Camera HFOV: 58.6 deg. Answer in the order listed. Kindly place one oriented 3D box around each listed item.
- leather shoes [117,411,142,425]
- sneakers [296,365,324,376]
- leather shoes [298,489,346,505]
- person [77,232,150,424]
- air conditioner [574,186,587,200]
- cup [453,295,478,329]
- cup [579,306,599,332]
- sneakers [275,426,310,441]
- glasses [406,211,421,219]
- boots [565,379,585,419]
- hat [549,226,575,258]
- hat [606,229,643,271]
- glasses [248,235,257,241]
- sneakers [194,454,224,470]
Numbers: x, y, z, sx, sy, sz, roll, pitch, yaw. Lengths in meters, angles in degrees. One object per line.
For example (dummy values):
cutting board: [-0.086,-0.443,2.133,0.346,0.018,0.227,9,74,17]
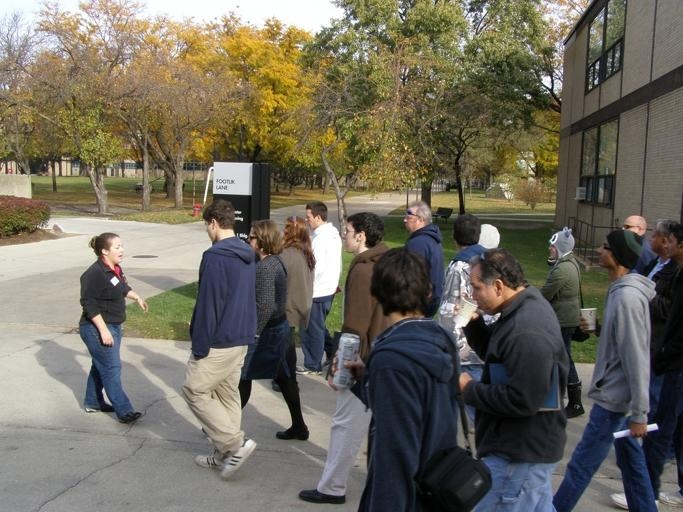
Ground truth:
leather shoes: [-2.265,1.732,6.569,0.246,0.108,0.107,-14,10,1]
sneakers: [-0.430,1.561,8.336,0.340,0.164,0.128,4,-2,2]
leather shoes: [-0.172,2.074,5.325,0.376,0.166,0.147,8,-11,5]
person: [-2.546,0.768,6.683,0.591,2.025,0.694,-1,5,-22]
air conditioner: [8.569,-2.209,21.836,0.517,0.535,0.395,-1,-3,5]
cup: [0.925,0.436,4.490,0.155,0.230,0.319,2,5,12]
cup: [2.204,0.574,5.432,0.184,0.200,0.191,-1,0,0]
sneakers: [-0.501,1.856,6.344,0.345,0.156,0.142,3,-2,6]
glasses: [0.803,-0.479,6.928,0.140,0.083,0.137,-1,5,-20]
boots: [2.711,1.656,7.024,0.203,0.406,0.348,3,5,22]
hat: [2.472,-0.158,6.895,0.352,0.373,0.261,3,7,19]
hat: [2.334,-0.051,5.037,0.272,0.321,0.197,2,5,13]
glasses: [-0.966,-0.194,6.617,0.074,0.023,0.070,15,-8,-22]
sneakers: [-1.238,1.927,5.713,0.349,0.150,0.102,5,7,40]
